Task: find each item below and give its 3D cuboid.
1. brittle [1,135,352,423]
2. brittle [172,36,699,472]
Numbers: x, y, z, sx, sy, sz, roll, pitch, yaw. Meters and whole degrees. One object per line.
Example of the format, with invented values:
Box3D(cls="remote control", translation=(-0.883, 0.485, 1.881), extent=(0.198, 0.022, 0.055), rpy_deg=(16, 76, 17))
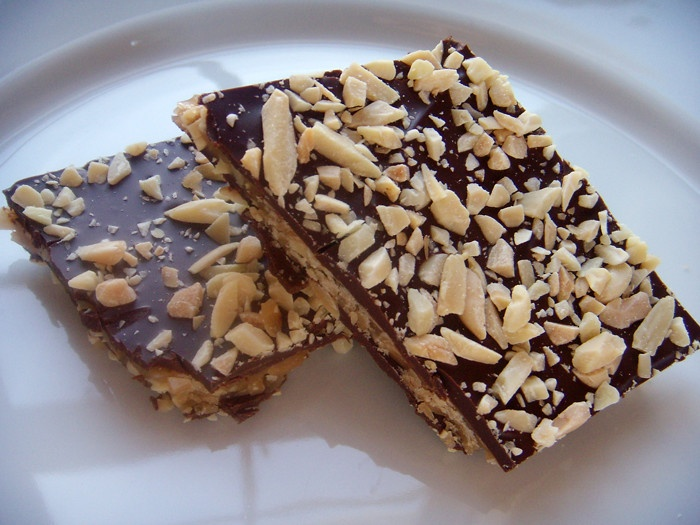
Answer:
Box3D(cls="brittle", translation=(-0.594, 0.015, 2.426), extent=(0.834, 0.322, 0.993), rpy_deg=(-29, 76, -18))
Box3D(cls="brittle", translation=(0.323, -0.070, 2.425), extent=(1.001, 0.446, 1.510), rpy_deg=(-36, 79, -14))
